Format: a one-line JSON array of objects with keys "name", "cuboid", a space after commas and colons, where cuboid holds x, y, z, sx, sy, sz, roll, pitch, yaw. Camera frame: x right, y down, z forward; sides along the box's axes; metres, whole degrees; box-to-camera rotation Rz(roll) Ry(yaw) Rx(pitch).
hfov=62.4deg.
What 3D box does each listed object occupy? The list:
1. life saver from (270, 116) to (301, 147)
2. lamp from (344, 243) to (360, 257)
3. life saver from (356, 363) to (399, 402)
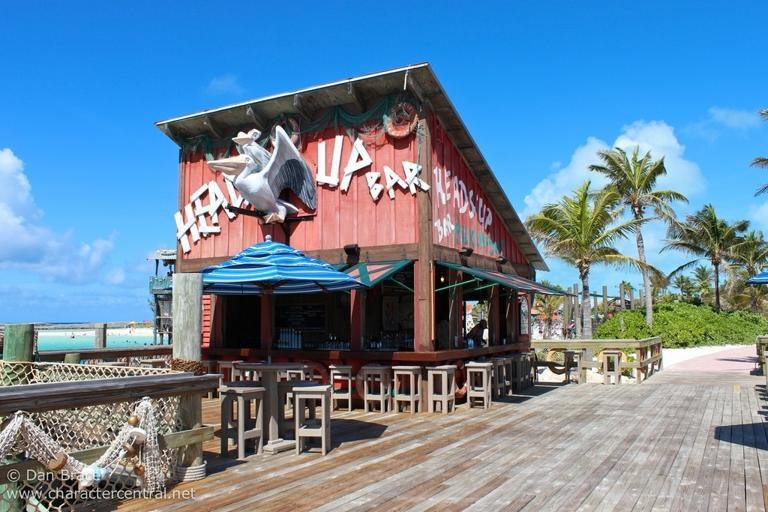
[{"name": "life saver", "cuboid": [-2.560, -3.366, 16.674, 0.672, 0.960, 0.324, 1, 14, 37]}, {"name": "lamp", "cuboid": [-0.781, -0.114, 15.729, 0.287, 0.211, 0.305, 6, -54, 16]}, {"name": "life saver", "cuboid": [-0.132, 3.011, 14.978, 0.864, 0.927, 0.738, 3, -13, -27]}]
